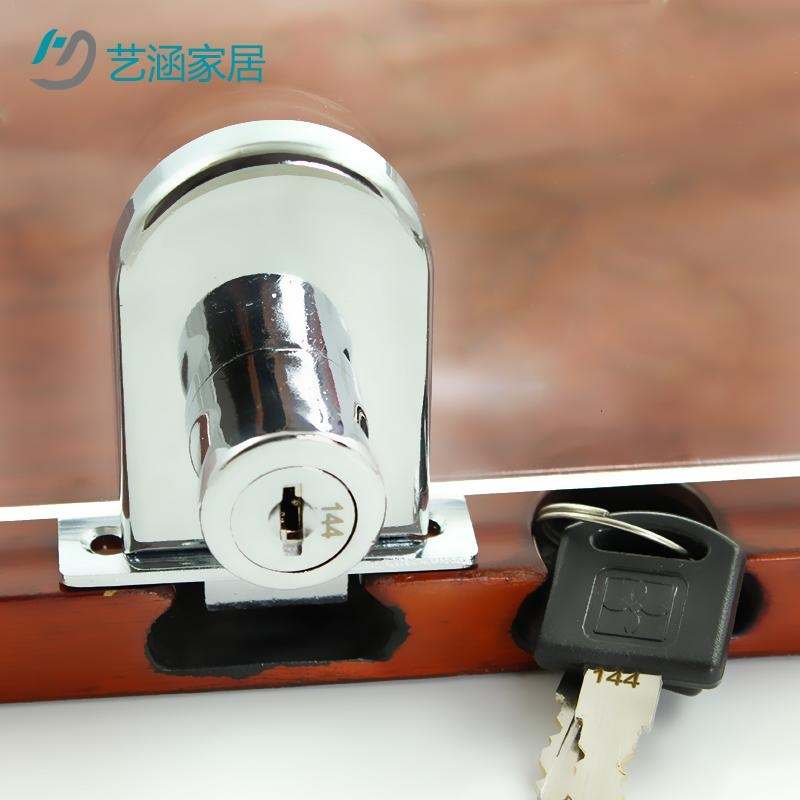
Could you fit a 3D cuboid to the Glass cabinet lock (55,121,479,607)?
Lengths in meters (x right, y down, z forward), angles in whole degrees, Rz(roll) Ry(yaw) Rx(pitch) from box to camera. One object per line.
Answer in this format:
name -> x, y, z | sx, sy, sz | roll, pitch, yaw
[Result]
Glass cabinet lock -> -0.048, 0.026, 0.365 | 0.177, 0.140, 0.088 | -2, 23, -8
